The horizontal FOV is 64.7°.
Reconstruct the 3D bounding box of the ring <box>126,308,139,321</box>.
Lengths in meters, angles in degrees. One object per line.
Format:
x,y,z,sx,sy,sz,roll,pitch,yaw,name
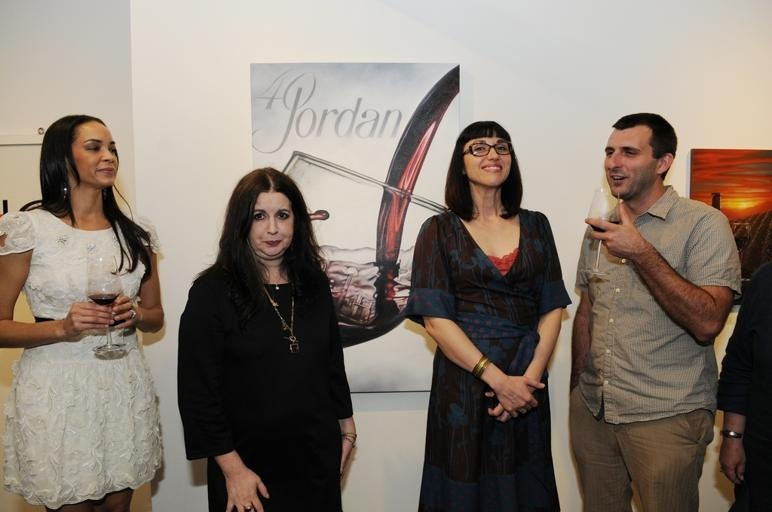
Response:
-1.378,0.317,3.305,0.020,0.046,0.058,-1,12,15,ring

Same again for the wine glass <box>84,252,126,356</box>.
-1.498,0.275,3.250,0.171,0.595,0.248,-4,8,-26,wine glass

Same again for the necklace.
-0.520,0.286,3.087,0.124,0.404,0.028,-14,-18,-21,necklace

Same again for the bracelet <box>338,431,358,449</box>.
-0.215,0.996,3.338,0.080,0.106,0.104,3,13,2,bracelet

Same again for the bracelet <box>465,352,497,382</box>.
0.513,0.583,3.332,0.115,0.119,0.099,38,38,7,bracelet
